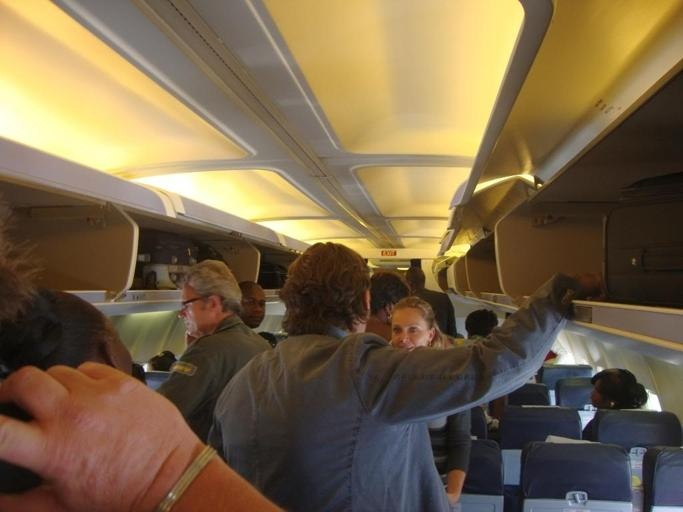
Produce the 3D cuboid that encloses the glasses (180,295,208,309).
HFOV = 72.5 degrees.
[{"bbox_3d":[-1.079,0.318,3.392,0.162,0.037,0.140,-5,1,-5],"label":"glasses"}]
